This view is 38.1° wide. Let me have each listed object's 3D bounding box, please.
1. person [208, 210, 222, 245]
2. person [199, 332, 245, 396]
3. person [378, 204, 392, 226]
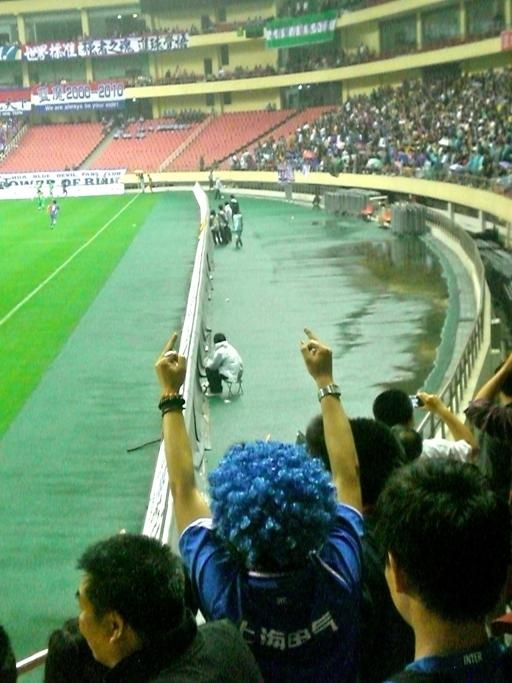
[{"bbox_3d":[-1.402,-3.895,25.748,0.389,1.181,1.120,0,11,-1],"label":"person"},{"bbox_3d":[-0.514,0.301,11.096,0.476,1.116,0.435,9,32,12],"label":"person"},{"bbox_3d":[5.027,-4.744,28.487,0.273,0.970,0.608,7,6,-14],"label":"person"}]
